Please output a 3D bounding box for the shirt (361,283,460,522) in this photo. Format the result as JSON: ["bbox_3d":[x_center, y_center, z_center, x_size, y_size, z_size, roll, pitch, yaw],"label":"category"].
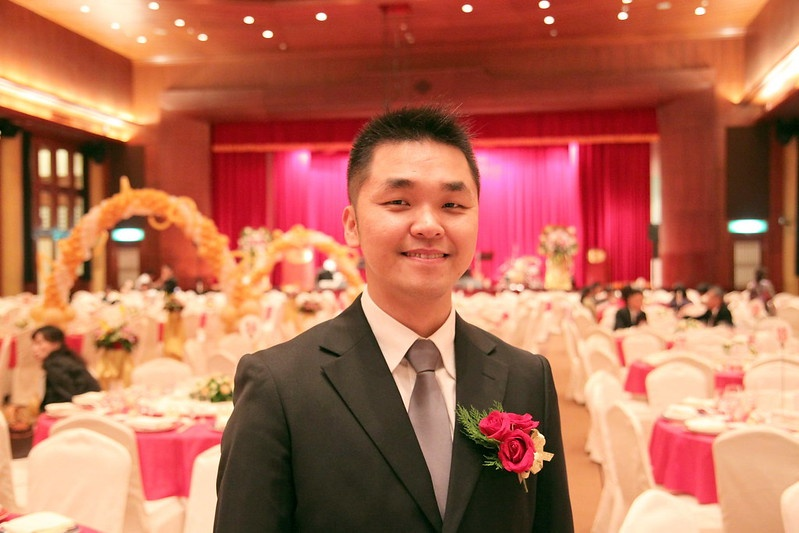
[{"bbox_3d":[0.102,0.545,2.834,0.446,0.924,0.212,-1,-2,-6],"label":"shirt"}]

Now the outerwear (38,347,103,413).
[{"bbox_3d":[-2.466,0.931,5.221,0.425,0.424,0.290,9,-26,-21],"label":"outerwear"}]

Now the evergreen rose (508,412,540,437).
[{"bbox_3d":[0.567,0.706,2.969,0.101,0.050,0.107,5,8,-11],"label":"evergreen rose"}]

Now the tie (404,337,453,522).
[{"bbox_3d":[0.133,0.733,2.998,0.177,0.789,0.131,-3,-21,-3],"label":"tie"}]

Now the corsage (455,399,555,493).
[{"bbox_3d":[0.453,0.769,3.043,0.427,0.332,0.441,44,-15,29],"label":"corsage"}]

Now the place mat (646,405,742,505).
[{"bbox_3d":[2.010,1.333,4.549,0.465,0.247,0.452,-6,9,-5],"label":"place mat"}]

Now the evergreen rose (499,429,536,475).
[{"bbox_3d":[0.528,0.835,3.004,0.173,0.187,0.095,-5,-5,4],"label":"evergreen rose"}]
